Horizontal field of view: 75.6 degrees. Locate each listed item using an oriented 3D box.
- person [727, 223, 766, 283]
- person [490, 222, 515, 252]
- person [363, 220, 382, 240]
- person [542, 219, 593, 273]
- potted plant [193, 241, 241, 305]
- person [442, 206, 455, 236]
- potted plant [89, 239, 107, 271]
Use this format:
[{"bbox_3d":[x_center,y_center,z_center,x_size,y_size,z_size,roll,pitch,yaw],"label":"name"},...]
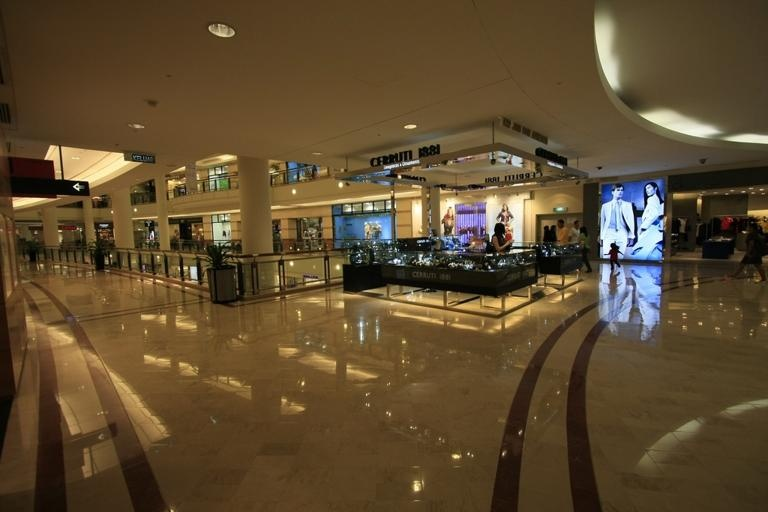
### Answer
[{"bbox_3d":[10.337,-0.156,13.944,0.747,1.514,3.084,1,3,35],"label":"person"},{"bbox_3d":[2.914,-0.478,12.334,0.482,0.736,1.650,0,3,14],"label":"person"},{"bbox_3d":[-0.546,-1.392,25.605,0.742,0.816,1.299,-1,3,-13],"label":"person"},{"bbox_3d":[5.740,-0.290,15.335,0.612,1.084,2.147,1,5,39],"label":"person"},{"bbox_3d":[-4.008,0.428,12.261,0.754,1.404,0.718,-2,3,-17],"label":"potted plant"},{"bbox_3d":[3.165,-1.774,24.332,0.589,1.318,0.367,0,3,6],"label":"person"},{"bbox_3d":[-11.379,-0.064,19.775,0.496,1.210,1.053,-3,3,-37],"label":"potted plant"}]
